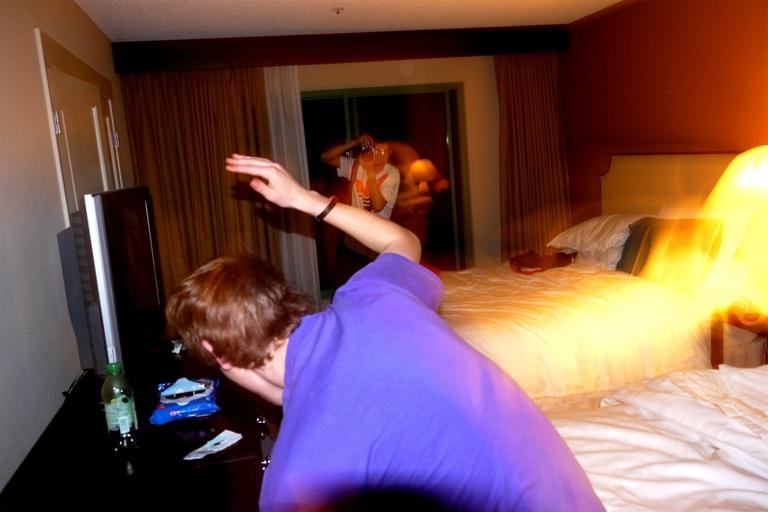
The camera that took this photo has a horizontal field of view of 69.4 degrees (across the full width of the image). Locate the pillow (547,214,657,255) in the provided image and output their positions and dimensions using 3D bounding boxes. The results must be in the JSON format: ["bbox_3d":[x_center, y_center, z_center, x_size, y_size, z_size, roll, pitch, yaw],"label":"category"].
[{"bbox_3d":[1.930,-0.131,4.907,0.647,0.216,0.689,8,-4,-11],"label":"pillow"}]

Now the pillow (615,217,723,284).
[{"bbox_3d":[2.090,-0.077,4.114,0.460,0.450,0.140,-2,-21,42],"label":"pillow"}]
